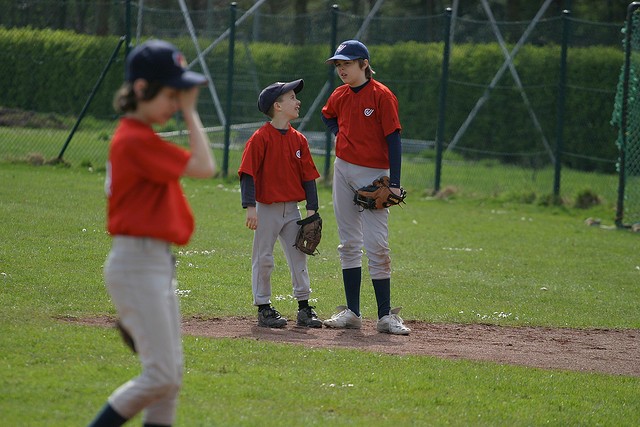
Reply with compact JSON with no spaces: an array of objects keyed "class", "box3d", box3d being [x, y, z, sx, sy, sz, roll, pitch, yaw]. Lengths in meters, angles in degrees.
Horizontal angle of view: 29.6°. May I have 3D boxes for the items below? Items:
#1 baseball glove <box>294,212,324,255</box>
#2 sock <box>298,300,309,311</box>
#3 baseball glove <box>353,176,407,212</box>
[{"class":"baseball glove","box3d":[-0.219,0.295,19.310,0.453,0.643,0.268,23,1,-29]},{"class":"sock","box3d":[-0.262,1.477,19.298,0.137,0.153,0.148,-3,2,-24]},{"class":"baseball glove","box3d":[0.933,-0.330,19.012,0.636,0.311,0.494,3,35,9]}]
